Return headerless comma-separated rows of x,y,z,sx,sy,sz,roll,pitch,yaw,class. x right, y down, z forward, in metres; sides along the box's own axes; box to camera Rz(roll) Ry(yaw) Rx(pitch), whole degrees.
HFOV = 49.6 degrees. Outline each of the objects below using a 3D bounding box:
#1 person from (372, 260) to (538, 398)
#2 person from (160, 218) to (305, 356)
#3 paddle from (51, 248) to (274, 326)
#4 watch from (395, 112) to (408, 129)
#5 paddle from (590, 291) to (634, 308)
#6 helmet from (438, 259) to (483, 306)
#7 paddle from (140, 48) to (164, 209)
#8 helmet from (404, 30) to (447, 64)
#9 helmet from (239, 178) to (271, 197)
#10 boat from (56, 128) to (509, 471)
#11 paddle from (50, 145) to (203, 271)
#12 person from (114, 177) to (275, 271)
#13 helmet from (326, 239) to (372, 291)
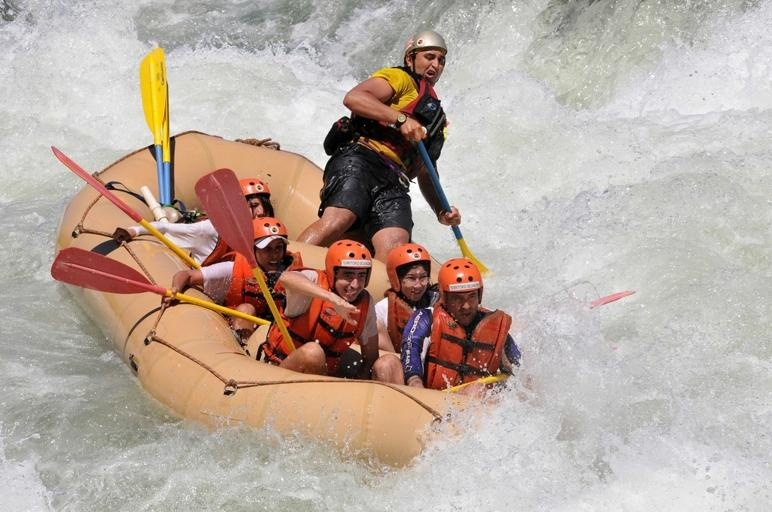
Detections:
0.434,0.595,6.477,1.139,0.891,1.463,1,85,-8,person
-1.208,0.086,6.869,0.785,0.466,1.204,-29,69,-22,person
-1.716,0.310,6.728,1.830,0.078,0.309,20,25,-30,paddle
0.138,-1.159,7.045,0.089,0.082,0.116,21,68,3,watch
1.914,0.361,7.036,0.420,0.043,0.096,-12,54,-36,paddle
0.550,0.176,6.174,0.261,0.339,0.333,-2,93,-20,helmet
-2.163,-1.344,7.892,0.292,0.273,1.966,-6,61,-7,paddle
0.349,-1.898,7.393,0.352,0.235,0.194,-4,69,-7,helmet
-1.198,-0.646,7.476,0.180,0.249,0.137,-7,109,-32,helmet
-1.377,0.431,6.443,3.713,0.893,2.184,38,60,25,boat
-2.211,-0.398,7.235,1.813,0.100,0.192,41,70,12,paddle
-1.531,-0.234,7.363,0.886,0.264,0.889,36,41,18,person
-0.287,0.043,6.313,0.335,0.271,0.335,-3,69,-7,helmet
